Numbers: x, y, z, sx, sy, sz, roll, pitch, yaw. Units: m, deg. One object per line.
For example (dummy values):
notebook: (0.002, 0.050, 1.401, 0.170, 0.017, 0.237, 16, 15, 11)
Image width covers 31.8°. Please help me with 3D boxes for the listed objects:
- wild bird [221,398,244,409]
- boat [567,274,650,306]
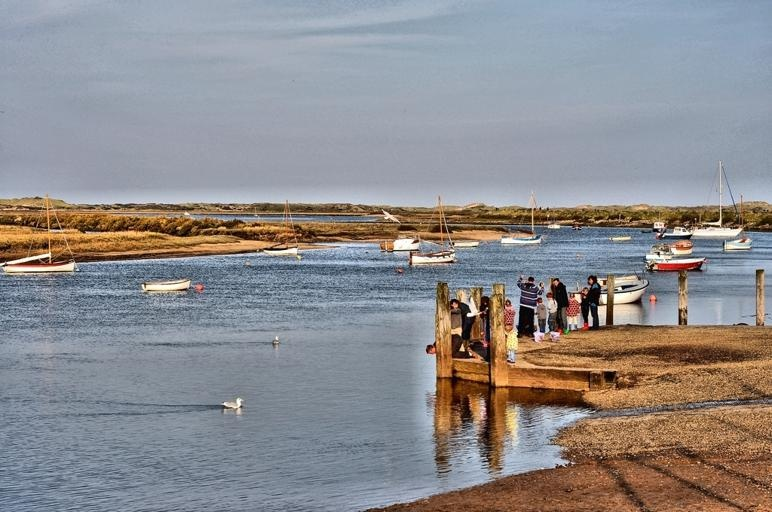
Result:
wild bird: (-5.607, 5.382, 49.199, 0.722, 0.399, 0.355, -2, 0, 9)
boat: (12.121, 1.886, 73.107, 3.393, 1.069, 1.724, -3, 9, -14)
